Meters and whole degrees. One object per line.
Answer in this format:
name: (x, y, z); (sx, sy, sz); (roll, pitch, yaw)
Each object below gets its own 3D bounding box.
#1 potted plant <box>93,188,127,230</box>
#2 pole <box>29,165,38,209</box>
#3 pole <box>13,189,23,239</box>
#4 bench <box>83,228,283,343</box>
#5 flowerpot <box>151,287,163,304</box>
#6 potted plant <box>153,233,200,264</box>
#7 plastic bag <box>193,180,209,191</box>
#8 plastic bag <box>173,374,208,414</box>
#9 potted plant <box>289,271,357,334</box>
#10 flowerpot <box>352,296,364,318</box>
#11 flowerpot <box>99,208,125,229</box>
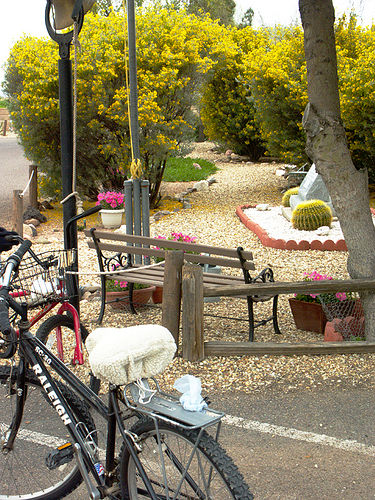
potted plant: (-1.467, -0.779, 10.110); (0.563, 0.696, 0.661); (-2, 14, -44)
pole: (-3.510, -1.403, 11.133); (0.189, 0.993, 0.540); (-4, 12, -17)
pole: (-2.967, -0.626, 8.551); (0.197, 0.825, 0.460); (-5, 12, -20)
bench: (-0.083, 0.328, 4.705); (1.834, 0.898, 0.633); (5, 12, 32)
flowerpot: (-0.322, 0.498, 5.261); (0.188, 0.148, 0.180); (-1, 2, -6)
potted plant: (-0.115, -0.006, 4.733); (0.498, 0.209, 0.174); (1, 14, 26)
plastic bag: (0.418, -1.954, 14.965); (0.474, 0.263, 0.914); (0, 10, 2)
plastic bag: (0.010, 0.485, 1.638); (0.102, 0.102, 0.138); (-1, 11, -4)
potted plant: (1.223, 0.533, 4.531); (0.436, 0.492, 0.473); (10, 3, 31)
flowerpot: (1.524, 0.529, 4.412); (0.092, 0.162, 0.105); (-1, 12, -1)
flowerpot: (-1.533, -0.623, 9.920); (0.450, 0.302, 0.430); (0, 2, -5)
